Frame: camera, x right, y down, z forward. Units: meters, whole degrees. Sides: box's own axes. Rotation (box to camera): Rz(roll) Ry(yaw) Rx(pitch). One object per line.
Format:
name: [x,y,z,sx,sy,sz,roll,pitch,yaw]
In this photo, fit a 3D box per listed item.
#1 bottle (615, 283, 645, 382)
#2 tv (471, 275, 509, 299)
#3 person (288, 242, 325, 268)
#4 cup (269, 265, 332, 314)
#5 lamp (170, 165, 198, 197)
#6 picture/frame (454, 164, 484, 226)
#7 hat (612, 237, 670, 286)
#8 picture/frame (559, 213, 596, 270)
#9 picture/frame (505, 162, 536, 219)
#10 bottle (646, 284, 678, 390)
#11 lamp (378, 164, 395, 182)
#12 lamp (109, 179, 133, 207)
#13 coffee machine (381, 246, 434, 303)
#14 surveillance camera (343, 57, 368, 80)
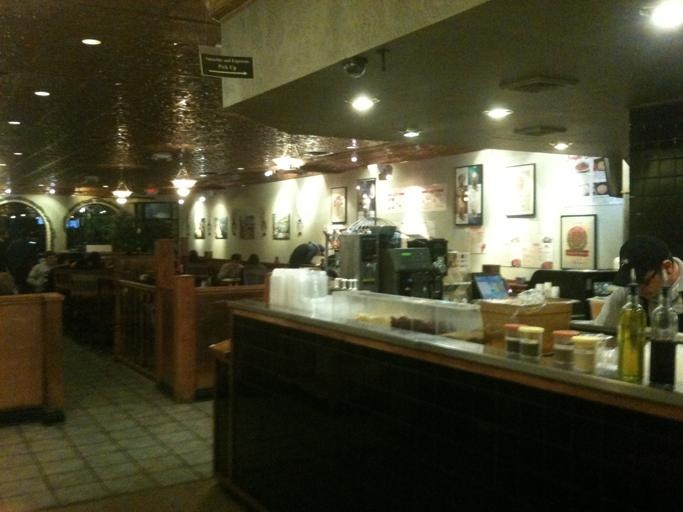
bottle: [1.267,0.327,2.455,0.109,0.384,0.326,2,5,27]
tv: [1.740,0.353,6.431,0.618,0.309,0.289,2,-3,-28]
person: [-0.739,-0.006,11.548,0.619,0.492,1.294,0,4,7]
cup: [-0.277,0.242,4.298,0.587,0.315,0.330,1,0,44]
lamp: [-3.118,-1.559,11.552,0.601,0.499,0.520,-3,16,-17]
picture/frame: [2.386,-1.119,10.475,0.127,1.148,0.698,-3,5,-26]
hat: [1.823,0.033,3.424,0.285,0.305,0.244,2,5,33]
picture/frame: [3.677,-0.224,8.759,0.169,0.851,0.619,-3,5,-22]
picture/frame: [3.048,-1.108,9.616,0.157,0.896,0.660,-3,5,-22]
bottle: [1.405,0.334,2.449,0.099,0.367,0.465,2,5,29]
lamp: [0.982,-1.818,12.234,0.303,0.350,0.352,1,5,17]
lamp: [-6.994,-2.024,17.799,1.022,0.806,0.870,-1,4,-4]
coffee machine: [0.817,0.239,7.420,0.890,0.664,0.473,-2,3,-44]
surveillance camera: [0.117,-1.378,4.127,0.144,0.044,0.139,3,-5,-22]
